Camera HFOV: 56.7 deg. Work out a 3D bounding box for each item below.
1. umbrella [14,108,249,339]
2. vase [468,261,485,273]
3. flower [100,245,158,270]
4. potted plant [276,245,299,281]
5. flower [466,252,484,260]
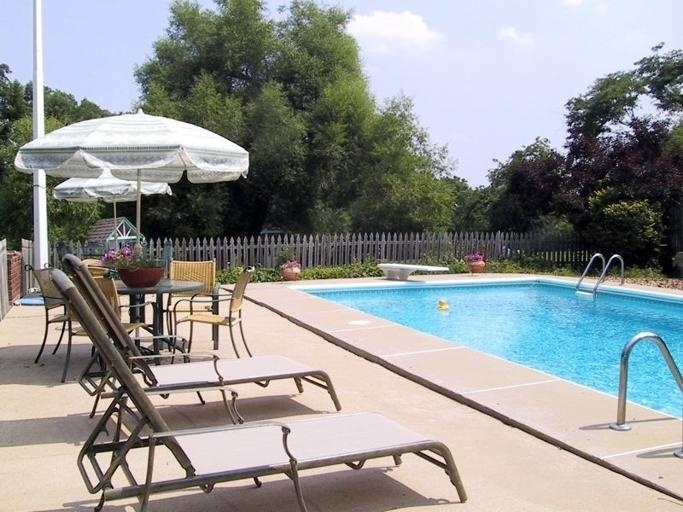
[{"bbox_3d":[-3.089,-0.402,8.833,2.658,1.825,2.810,1,1,34],"label":"umbrella"},{"bbox_3d":[4.340,0.349,20.533,0.384,0.275,0.404,0,-5,-1],"label":"vase"},{"bbox_3d":[-3.427,0.014,10.110,0.656,0.421,0.876,0,0,-15],"label":"flower"},{"bbox_3d":[-1.628,0.227,19.318,0.910,1.222,0.882,0,-4,-7],"label":"potted plant"},{"bbox_3d":[4.326,0.033,20.782,0.415,0.265,0.434,1,2,-23],"label":"flower"}]
